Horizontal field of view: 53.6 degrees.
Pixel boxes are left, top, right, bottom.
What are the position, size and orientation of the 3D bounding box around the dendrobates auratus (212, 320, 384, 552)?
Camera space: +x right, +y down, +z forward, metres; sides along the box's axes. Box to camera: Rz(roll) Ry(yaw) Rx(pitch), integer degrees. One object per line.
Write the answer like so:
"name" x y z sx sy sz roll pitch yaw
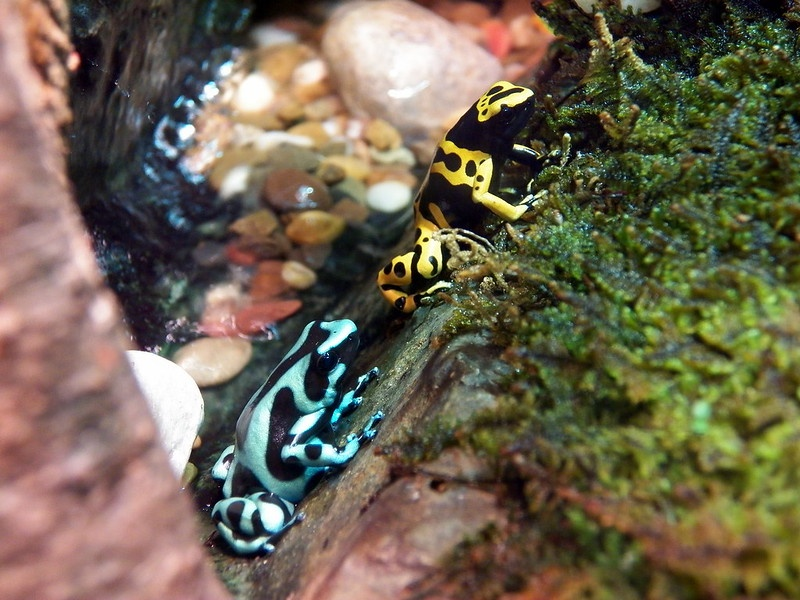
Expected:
"dendrobates auratus" -0.362 0.549 3.075 0.315 0.805 0.713 38 6 -31
